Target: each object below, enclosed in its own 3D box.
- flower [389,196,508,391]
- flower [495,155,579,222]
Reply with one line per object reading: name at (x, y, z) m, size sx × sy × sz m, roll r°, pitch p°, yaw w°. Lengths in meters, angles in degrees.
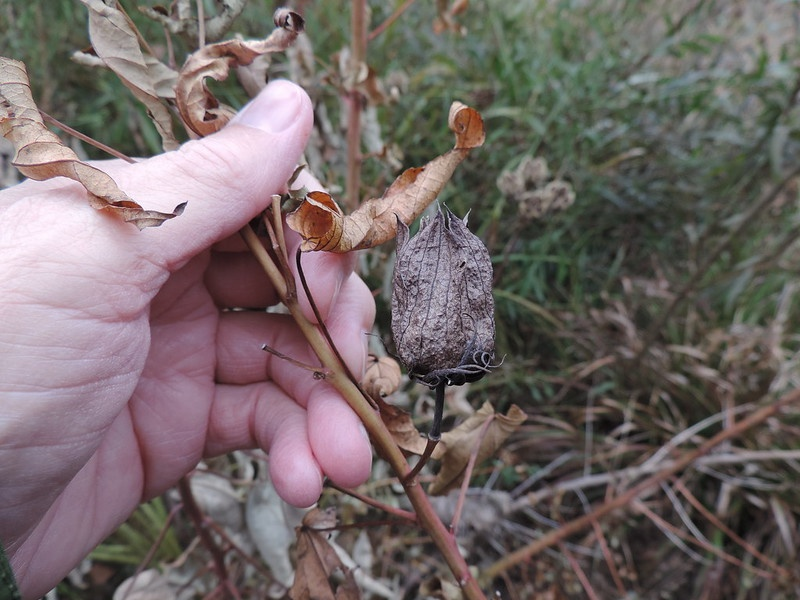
flower at (0.071, -0.001, 1.258) m, size 0.163 × 0.216 × 0.164 m, roll 4°, pitch 43°, yaw -7°
flower at (0.290, -0.233, 1.694) m, size 0.035 × 0.132 × 0.142 m, roll -2°, pitch 66°, yaw -28°
